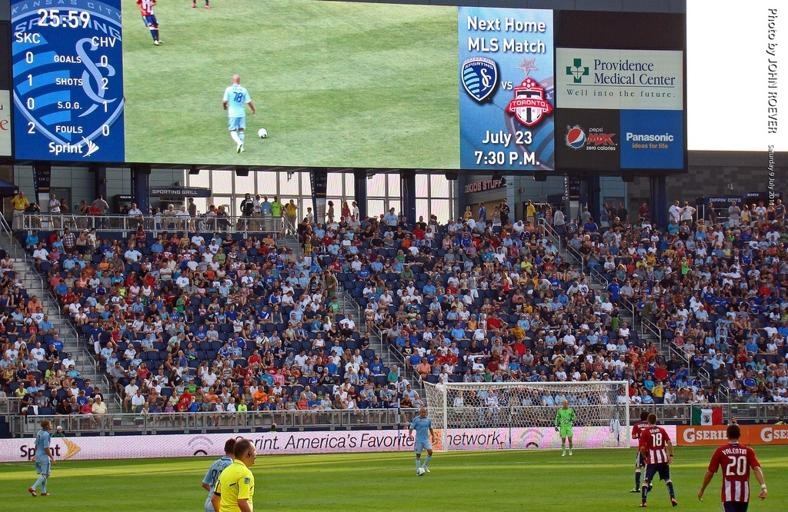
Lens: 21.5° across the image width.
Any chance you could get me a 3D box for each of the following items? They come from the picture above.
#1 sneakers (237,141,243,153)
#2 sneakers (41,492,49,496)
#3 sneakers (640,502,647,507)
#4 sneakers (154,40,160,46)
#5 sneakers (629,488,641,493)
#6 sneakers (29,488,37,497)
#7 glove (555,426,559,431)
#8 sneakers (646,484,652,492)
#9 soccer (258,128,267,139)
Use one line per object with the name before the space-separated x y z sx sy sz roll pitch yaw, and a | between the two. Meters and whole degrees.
sneakers | -7.095 -5.061 95.344 0.173 0.519 0.218 2 3 -9
sneakers | -13.205 8.921 78.285 0.259 0.115 0.344 1 -6 -10
sneakers | 9.152 9.050 75.985 0.172 0.128 0.309 1 1 2
sneakers | -10.848 -9.787 94.574 0.387 0.164 0.209 -2 20 13
sneakers | 9.075 8.754 78.019 0.143 0.176 0.419 1 1 -39
sneakers | -13.627 8.820 78.056 0.198 0.465 0.153 -19 27 8
glove | 7.168 7.540 91.183 0.213 0.196 0.052 2 8 17
sneakers | 9.502 8.547 76.913 0.204 0.235 0.600 2 5 10
soccer | -6.090 -5.710 95.714 0.357 0.448 0.457 -2 -8 -9
